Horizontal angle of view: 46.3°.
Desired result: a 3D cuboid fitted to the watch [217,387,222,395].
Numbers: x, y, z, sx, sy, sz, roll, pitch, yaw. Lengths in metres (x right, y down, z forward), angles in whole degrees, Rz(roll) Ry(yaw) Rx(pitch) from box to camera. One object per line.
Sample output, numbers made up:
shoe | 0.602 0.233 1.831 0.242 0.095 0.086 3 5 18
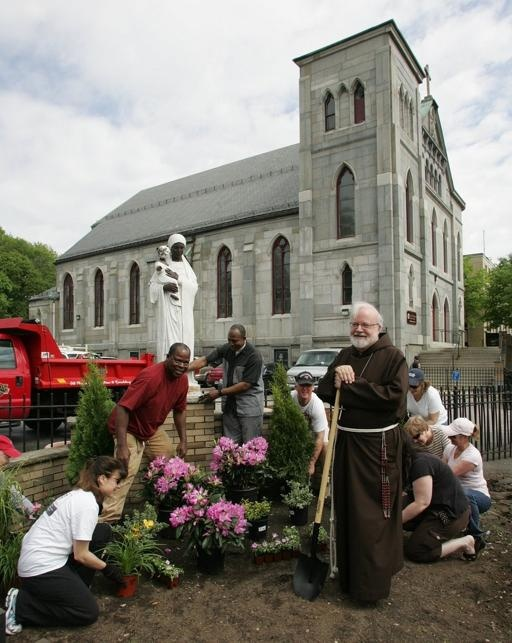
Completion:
watch | -0.405 0.803 6.771 0.070 0.085 0.101 -1 9 -13

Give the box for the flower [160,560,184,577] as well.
flower | -0.676 1.881 4.578 0.160 0.052 0.184 11 -4 -43

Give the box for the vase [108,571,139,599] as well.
vase | -0.999 1.929 4.396 0.217 0.151 0.223 -12 -15 41

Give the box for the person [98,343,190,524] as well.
person | -1.036 1.089 5.632 0.858 1.817 0.650 -1 13 -43

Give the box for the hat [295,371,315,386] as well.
hat | 0.576 0.676 6.935 0.146 0.108 0.205 3 -16 1

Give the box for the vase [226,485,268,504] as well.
vase | -0.130 1.769 6.179 0.279 0.208 0.300 -1 -13 5

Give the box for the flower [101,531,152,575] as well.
flower | -0.976 1.746 4.612 0.413 0.241 0.392 7 -11 8

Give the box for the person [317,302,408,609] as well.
person | 0.891 0.974 4.661 0.700 2.230 0.835 1 2 -12

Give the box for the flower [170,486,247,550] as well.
flower | -0.391 1.628 4.807 0.577 0.375 0.557 4 -2 28

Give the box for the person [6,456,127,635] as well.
person | -1.329 1.506 4.072 0.885 1.071 0.582 -1 3 -44

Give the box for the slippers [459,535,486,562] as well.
slippers | 1.997 2.043 5.401 0.129 0.325 0.108 46 -28 -9

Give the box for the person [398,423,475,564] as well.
person | 1.666 1.537 5.388 0.654 1.238 1.124 2 2 14

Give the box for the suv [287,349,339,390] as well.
suv | 1.584 1.352 17.579 1.127 0.893 1.904 -1 -5 24

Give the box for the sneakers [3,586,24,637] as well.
sneakers | -1.593 1.907 3.920 0.131 0.275 0.098 -2 -18 8

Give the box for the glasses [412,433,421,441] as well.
glasses | 1.570 1.130 5.832 0.127 0.037 0.162 1 -1 -2

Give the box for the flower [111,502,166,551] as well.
flower | -0.923 1.680 5.095 0.302 0.330 0.299 5 20 -3

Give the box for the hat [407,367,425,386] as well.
hat | 1.941 0.695 7.200 0.181 0.217 0.310 2 2 15

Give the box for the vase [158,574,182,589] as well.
vase | -0.665 1.987 4.568 0.137 0.057 0.091 -3 -11 35

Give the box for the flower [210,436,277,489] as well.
flower | -0.126 1.471 6.123 0.658 0.523 0.548 2 -23 -6

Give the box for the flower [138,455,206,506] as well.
flower | -0.759 1.422 5.391 0.563 0.430 0.525 -4 1 -16

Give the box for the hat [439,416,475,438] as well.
hat | 2.020 1.077 5.975 0.368 0.172 0.229 -1 4 11

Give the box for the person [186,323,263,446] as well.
person | -0.224 0.734 6.775 0.830 1.393 0.583 3 2 31

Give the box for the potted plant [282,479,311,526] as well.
potted plant | 0.429 1.854 6.034 0.263 0.354 0.226 4 -7 -24
